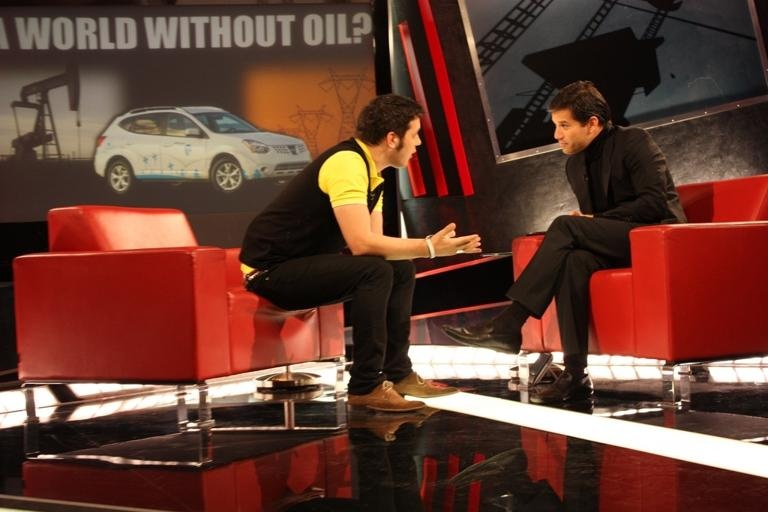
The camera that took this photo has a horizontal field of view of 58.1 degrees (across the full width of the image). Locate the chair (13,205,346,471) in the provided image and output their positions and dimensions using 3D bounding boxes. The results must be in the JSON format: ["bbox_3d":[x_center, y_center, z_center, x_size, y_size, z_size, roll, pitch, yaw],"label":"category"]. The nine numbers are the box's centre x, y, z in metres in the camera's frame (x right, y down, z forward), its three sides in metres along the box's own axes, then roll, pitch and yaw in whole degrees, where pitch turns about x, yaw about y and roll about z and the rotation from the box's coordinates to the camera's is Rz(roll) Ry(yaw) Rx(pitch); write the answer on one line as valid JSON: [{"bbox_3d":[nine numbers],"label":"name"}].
[{"bbox_3d":[-0.953,0.364,3.425,1.342,0.969,1.318,-3,-4,11],"label":"chair"}]

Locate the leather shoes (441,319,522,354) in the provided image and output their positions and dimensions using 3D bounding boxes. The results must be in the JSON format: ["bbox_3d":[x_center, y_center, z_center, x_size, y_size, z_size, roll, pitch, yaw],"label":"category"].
[{"bbox_3d":[0.501,0.393,3.442,0.469,0.169,0.147,11,1,7],"label":"leather shoes"}]

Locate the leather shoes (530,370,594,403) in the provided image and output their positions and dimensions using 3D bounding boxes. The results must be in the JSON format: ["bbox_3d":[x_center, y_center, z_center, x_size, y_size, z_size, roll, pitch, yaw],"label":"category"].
[{"bbox_3d":[0.881,0.620,3.333,0.379,0.130,0.121,-1,-1,-24],"label":"leather shoes"}]

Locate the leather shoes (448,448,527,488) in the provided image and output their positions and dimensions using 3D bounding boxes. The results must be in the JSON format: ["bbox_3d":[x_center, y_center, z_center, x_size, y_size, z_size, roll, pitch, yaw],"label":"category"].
[{"bbox_3d":[0.379,0.763,2.503,0.250,0.057,0.098,-11,11,-24],"label":"leather shoes"}]

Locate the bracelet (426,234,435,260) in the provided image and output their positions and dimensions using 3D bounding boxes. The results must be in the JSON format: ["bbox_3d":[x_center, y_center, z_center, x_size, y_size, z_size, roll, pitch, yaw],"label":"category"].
[{"bbox_3d":[0.208,-0.043,3.106,0.061,0.086,0.087,-5,30,1],"label":"bracelet"}]
